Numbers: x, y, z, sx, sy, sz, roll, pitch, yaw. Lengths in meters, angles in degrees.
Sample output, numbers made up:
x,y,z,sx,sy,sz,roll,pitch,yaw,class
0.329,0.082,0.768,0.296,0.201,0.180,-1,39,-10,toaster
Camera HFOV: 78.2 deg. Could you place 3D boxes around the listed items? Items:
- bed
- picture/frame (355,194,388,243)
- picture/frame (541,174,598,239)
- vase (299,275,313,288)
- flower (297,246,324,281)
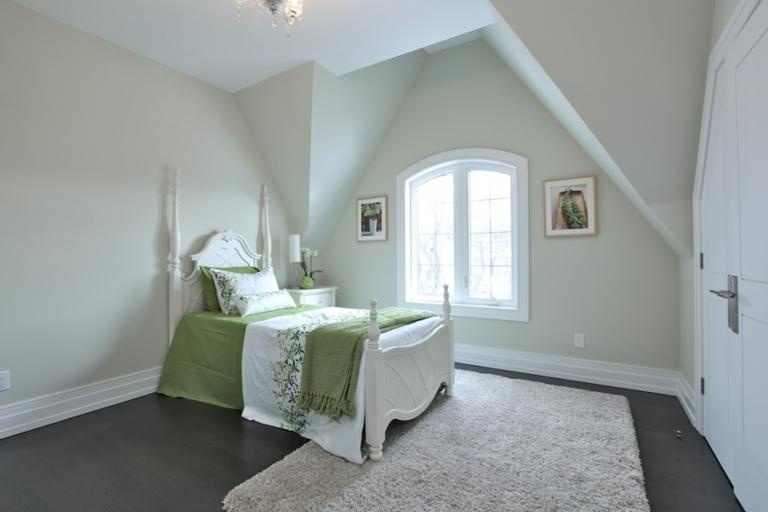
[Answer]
x,y,z,sx,sy,sz,roll,pitch,yaw,class
-0.820,0.624,5.054,2.754,2.069,1.830,4,6,35,bed
-0.162,-0.490,6.398,0.613,0.809,0.052,-1,-1,42,picture/frame
2.084,-0.539,5.245,0.666,0.890,0.056,-1,-2,30,picture/frame
-1.046,0.360,6.352,0.126,0.147,0.157,1,2,-4,vase
-1.066,0.104,6.641,0.391,0.433,0.299,-7,-6,21,flower
